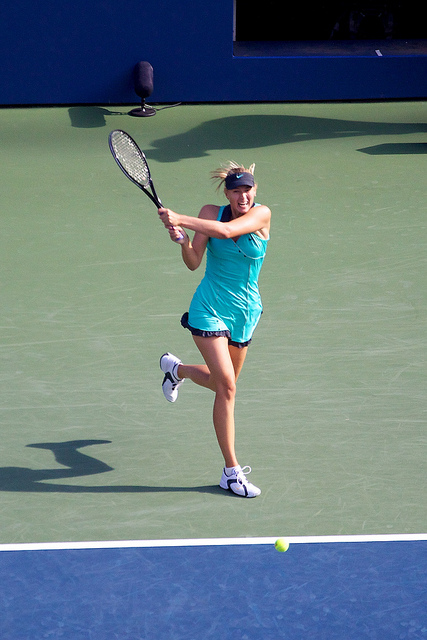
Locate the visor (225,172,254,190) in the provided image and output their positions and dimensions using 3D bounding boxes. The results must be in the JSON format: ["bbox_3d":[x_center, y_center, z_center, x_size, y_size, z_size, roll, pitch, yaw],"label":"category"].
[{"bbox_3d":[0.142,-0.786,4.299,0.164,0.088,0.178,-3,16,1],"label":"visor"}]

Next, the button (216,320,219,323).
[{"bbox_3d":[0.018,0.007,4.294,0.008,0.013,0.027,7,19,30],"label":"button"}]

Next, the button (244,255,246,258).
[{"bbox_3d":[0.171,-0.359,4.278,0.005,0.017,0.018,20,-22,-4],"label":"button"}]

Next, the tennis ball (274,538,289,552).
[{"bbox_3d":[0.336,1.125,3.802,0.063,0.060,0.061,16,10,-3],"label":"tennis ball"}]
